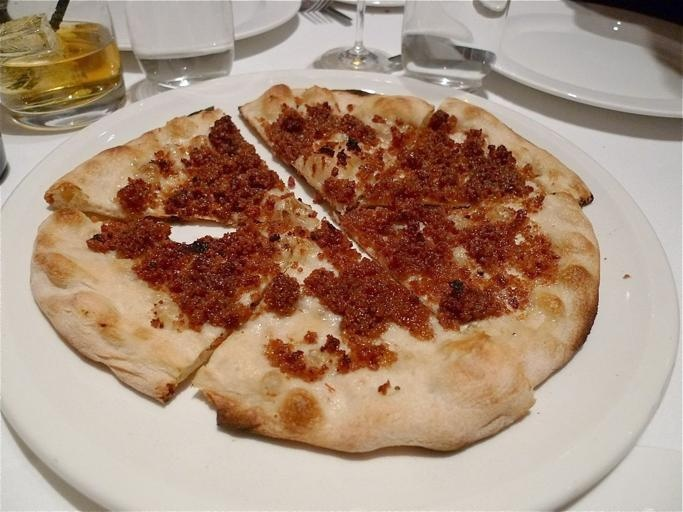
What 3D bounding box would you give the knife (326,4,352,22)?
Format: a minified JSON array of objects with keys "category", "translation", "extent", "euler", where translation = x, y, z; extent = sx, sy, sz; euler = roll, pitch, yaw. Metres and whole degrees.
[{"category":"knife","translation":[-0.023,-1.457,3.701],"extent":[0.074,0.021,0.240],"euler":[-33,59,-13]}]
